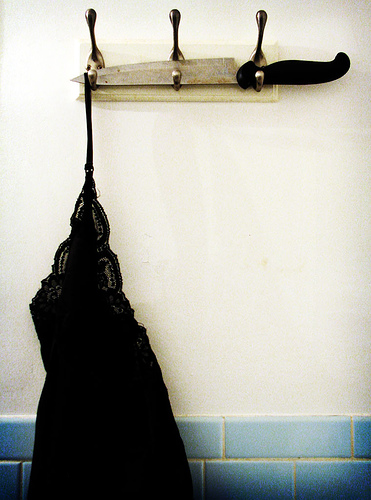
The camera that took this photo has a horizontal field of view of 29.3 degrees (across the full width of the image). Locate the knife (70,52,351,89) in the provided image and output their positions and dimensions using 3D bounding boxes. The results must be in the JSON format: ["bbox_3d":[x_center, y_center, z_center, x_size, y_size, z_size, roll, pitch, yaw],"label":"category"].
[{"bbox_3d":[0.050,-0.305,1.234,0.482,0.058,0.097,-3,11,6],"label":"knife"}]

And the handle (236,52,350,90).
[{"bbox_3d":[0.188,-0.303,1.230,0.175,0.071,0.094,0,2,6],"label":"handle"}]

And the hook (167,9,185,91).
[{"bbox_3d":[-0.018,-0.341,1.219,0.029,0.133,0.066,-2,8,0],"label":"hook"}]
